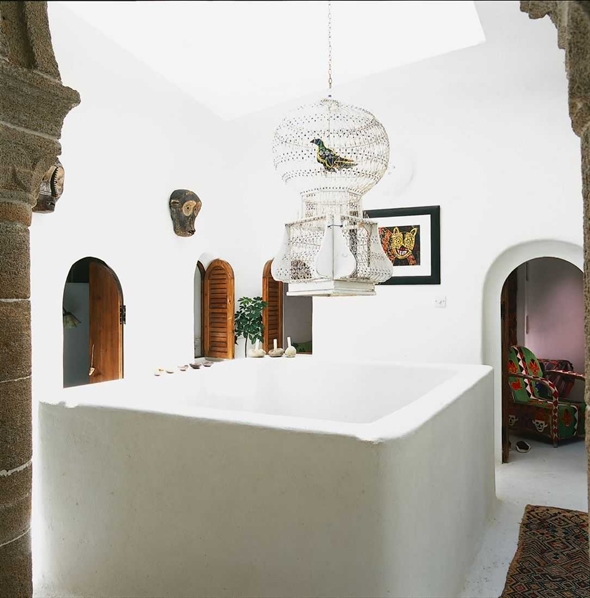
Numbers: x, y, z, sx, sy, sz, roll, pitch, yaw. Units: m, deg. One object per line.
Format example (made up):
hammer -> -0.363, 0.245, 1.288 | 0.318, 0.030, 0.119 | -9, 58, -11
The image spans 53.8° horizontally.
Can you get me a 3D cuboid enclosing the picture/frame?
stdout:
picture/frame -> 0.973, -0.470, 5.065 | 0.572, 0.859, 0.050 | -2, -1, 26
